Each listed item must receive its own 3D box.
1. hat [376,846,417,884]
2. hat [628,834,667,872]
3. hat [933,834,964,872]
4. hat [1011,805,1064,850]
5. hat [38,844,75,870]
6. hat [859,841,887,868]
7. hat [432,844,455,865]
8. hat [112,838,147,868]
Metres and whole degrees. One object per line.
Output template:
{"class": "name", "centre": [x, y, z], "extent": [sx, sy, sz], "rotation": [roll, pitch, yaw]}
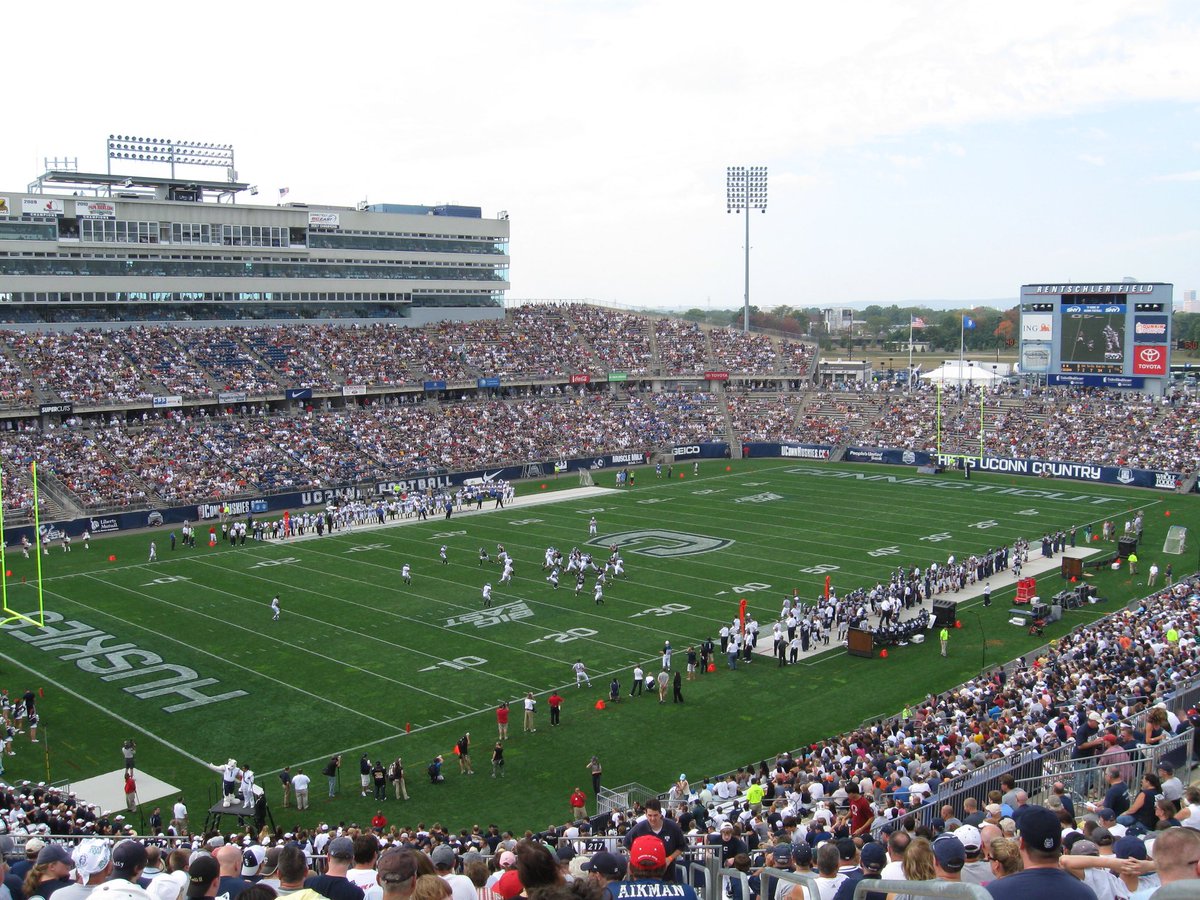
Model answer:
{"class": "hat", "centre": [-3.287, 6.718, 27.688], "extent": [0.578, 0.532, 0.320], "rotation": [-2, 13, -8]}
{"class": "hat", "centre": [0.804, 6.561, 27.940], "extent": [0.562, 0.551, 0.461], "rotation": [-1, 12, -2]}
{"class": "hat", "centre": [5.815, 6.615, 28.253], "extent": [0.448, 0.535, 0.584], "rotation": [4, 13, 19]}
{"class": "hat", "centre": [7.130, 6.146, 27.756], "extent": [0.740, 1.123, 0.521], "rotation": [18, 53, 27]}
{"class": "hat", "centre": [-9.085, 6.758, 28.584], "extent": [0.488, 0.225, 0.322], "rotation": [6, -1, -18]}
{"class": "hat", "centre": [4.765, 7.021, 29.601], "extent": [0.403, 0.415, 0.420], "rotation": [2, 13, 12]}
{"class": "hat", "centre": [-2.677, 6.964, 29.280], "extent": [0.347, 0.375, 0.369], "rotation": [-2, 12, -6]}
{"class": "hat", "centre": [-7.739, 6.634, 28.078], "extent": [0.513, 0.455, 0.303], "rotation": [-4, 13, -16]}
